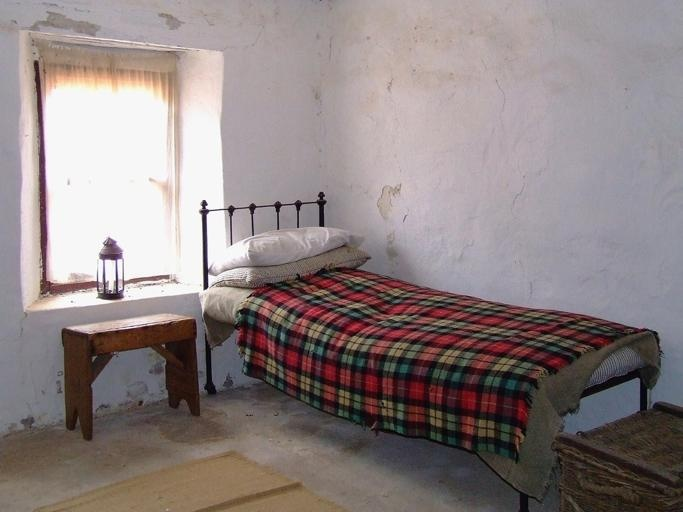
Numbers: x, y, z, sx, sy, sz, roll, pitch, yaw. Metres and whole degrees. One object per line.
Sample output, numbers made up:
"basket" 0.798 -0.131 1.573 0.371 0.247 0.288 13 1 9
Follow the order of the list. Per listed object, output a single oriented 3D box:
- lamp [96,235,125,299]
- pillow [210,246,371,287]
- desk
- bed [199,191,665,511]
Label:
"lamp" -1.490 0.059 3.634 0.189 0.382 0.433 -4 9 -22
"pillow" -0.259 0.070 3.357 0.607 0.112 0.380 -11 4 -32
"desk" -1.206 0.685 3.278 0.298 0.591 0.687 0 1 38
"bed" 0.274 0.183 2.722 1.060 0.828 1.733 -14 15 -42
